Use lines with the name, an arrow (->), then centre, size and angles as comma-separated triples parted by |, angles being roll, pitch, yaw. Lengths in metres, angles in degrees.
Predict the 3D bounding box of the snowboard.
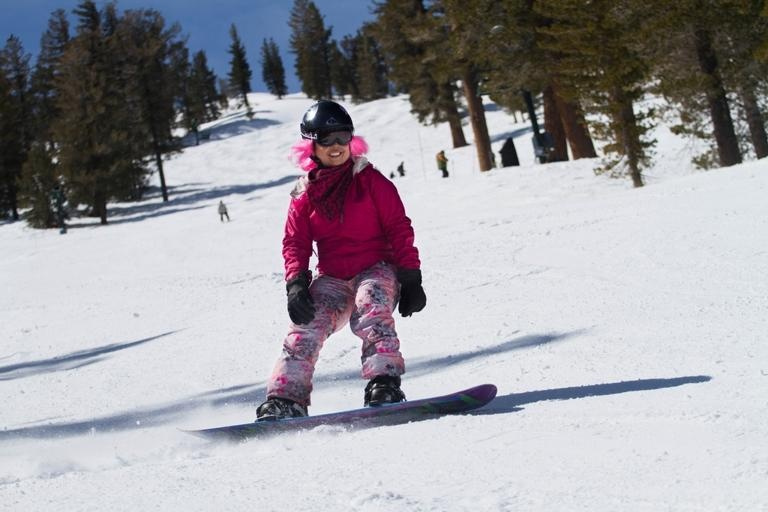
snowboard -> -0.536, 2.207, 11.405 | 4.229, 0.473, 0.194 | -7, 18, -6

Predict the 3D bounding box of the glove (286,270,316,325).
glove -> -1.184, 0.600, 11.744 | 0.402, 0.692, 0.368 | -11, 11, -2

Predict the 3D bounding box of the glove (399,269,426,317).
glove -> 0.378, 0.516, 11.800 | 0.402, 0.679, 0.232 | -12, 11, -5
